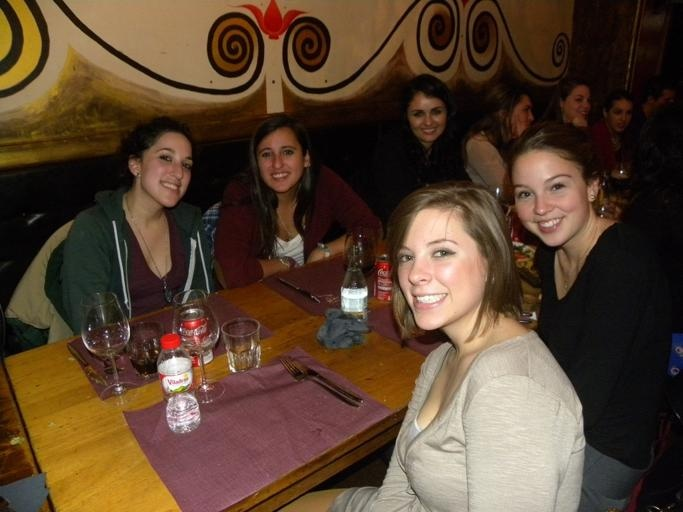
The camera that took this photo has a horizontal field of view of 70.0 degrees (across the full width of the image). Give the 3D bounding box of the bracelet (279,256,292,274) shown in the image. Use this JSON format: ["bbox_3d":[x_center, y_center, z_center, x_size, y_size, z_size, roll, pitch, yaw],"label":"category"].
[{"bbox_3d":[-0.297,0.045,2.573,0.059,0.034,0.076,-4,34,-33],"label":"bracelet"}]

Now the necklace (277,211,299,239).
[{"bbox_3d":[-0.322,-0.172,2.836,0.105,0.163,0.038,-2,-5,-8],"label":"necklace"}]

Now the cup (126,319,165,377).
[{"bbox_3d":[-0.656,0.334,1.722,0.160,0.189,0.150,-5,-8,-1],"label":"cup"}]

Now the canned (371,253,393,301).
[{"bbox_3d":[0.185,0.106,2.099,0.129,0.176,0.137,2,8,15],"label":"canned"}]

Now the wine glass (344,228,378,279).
[{"bbox_3d":[0.097,-0.030,2.161,0.156,0.241,0.168,2,4,1],"label":"wine glass"}]

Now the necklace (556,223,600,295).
[{"bbox_3d":[0.880,0.014,1.845,0.055,0.258,0.140,4,14,-4],"label":"necklace"}]

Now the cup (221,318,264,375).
[{"bbox_3d":[-0.324,0.299,1.714,0.147,0.183,0.162,-2,16,-2],"label":"cup"}]

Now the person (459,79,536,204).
[{"bbox_3d":[1.258,-0.680,3.700,0.598,1.121,0.562,2,10,24],"label":"person"}]

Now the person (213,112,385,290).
[{"bbox_3d":[-0.349,-0.261,2.826,1.010,0.983,0.629,-20,32,-26],"label":"person"}]

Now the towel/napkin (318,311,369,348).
[{"bbox_3d":[-0.003,0.257,1.875,0.207,0.092,0.265,10,9,-9],"label":"towel/napkin"}]

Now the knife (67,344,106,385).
[{"bbox_3d":[-0.880,0.327,1.687,0.083,0.015,0.312,-9,25,-31],"label":"knife"}]
